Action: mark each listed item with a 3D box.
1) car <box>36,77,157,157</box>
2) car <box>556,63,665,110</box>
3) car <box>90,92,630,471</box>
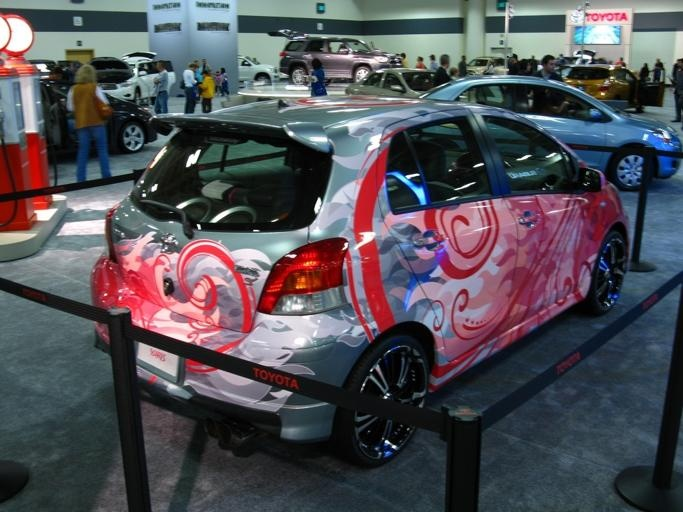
[{"bbox_3d":[-5.605,-3.588,13.681,4.454,1.364,2.004,4,19,38],"label":"car"},{"bbox_3d":[10.301,-6.455,18.896,3.646,0.904,3.057,-18,26,-36],"label":"car"},{"bbox_3d":[0.249,-0.393,4.462,2.844,1.785,5.169,18,25,35],"label":"car"}]
